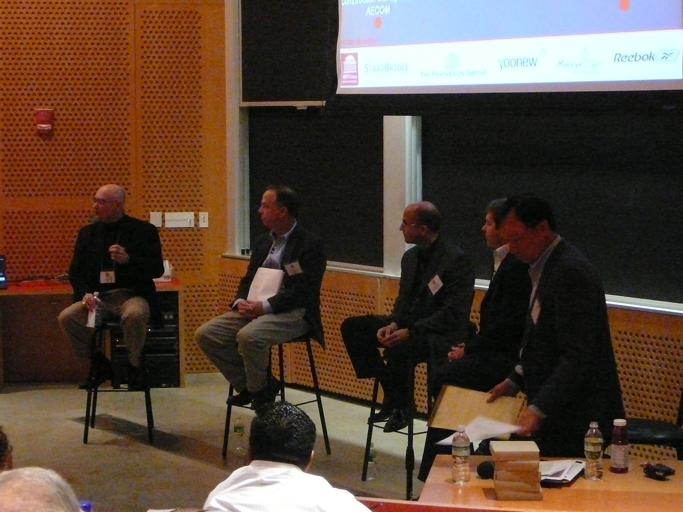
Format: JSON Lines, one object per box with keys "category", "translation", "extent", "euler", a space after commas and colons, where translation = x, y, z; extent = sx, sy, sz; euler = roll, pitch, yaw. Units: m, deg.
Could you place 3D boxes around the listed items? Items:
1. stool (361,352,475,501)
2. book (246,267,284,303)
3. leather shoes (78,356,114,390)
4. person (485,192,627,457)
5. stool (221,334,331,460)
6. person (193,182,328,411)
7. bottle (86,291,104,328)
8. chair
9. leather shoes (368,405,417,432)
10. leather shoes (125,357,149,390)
{"category": "stool", "translation": [0.383, 1.186, 4.821], "extent": [0.668, 0.888, 0.669], "euler": [15, -13, -30]}
{"category": "book", "translation": [-0.582, 0.228, 5.199], "extent": [0.211, 0.247, 0.086], "euler": [14, -4, 37]}
{"category": "leather shoes", "translation": [-2.009, 0.935, 5.487], "extent": [0.131, 0.248, 0.376], "euler": [-3, 9, 28]}
{"category": "person", "translation": [1.122, 0.382, 3.520], "extent": [0.568, 1.386, 0.466], "euler": [-1, 8, -12]}
{"category": "stool", "translation": [-0.406, 1.176, 5.610], "extent": [0.724, 1.002, 0.727], "euler": [-1, -3, 33]}
{"category": "person", "translation": [-0.571, 0.298, 5.186], "extent": [0.790, 1.668, 0.726], "euler": [6, 10, 39]}
{"category": "bottle", "translation": [-2.052, 0.446, 5.578], "extent": [0.123, 0.251, 0.294], "euler": [-3, 8, -20]}
{"category": "chair", "translation": [-1.865, 1.047, 5.639], "extent": [0.685, 0.954, 0.673], "euler": [-3, -9, 10]}
{"category": "leather shoes", "translation": [0.336, 1.123, 4.772], "extent": [0.209, 0.154, 0.385], "euler": [1, -4, 31]}
{"category": "leather shoes", "translation": [-1.645, 0.971, 5.499], "extent": [0.265, 0.245, 0.126], "euler": [6, 9, 38]}
